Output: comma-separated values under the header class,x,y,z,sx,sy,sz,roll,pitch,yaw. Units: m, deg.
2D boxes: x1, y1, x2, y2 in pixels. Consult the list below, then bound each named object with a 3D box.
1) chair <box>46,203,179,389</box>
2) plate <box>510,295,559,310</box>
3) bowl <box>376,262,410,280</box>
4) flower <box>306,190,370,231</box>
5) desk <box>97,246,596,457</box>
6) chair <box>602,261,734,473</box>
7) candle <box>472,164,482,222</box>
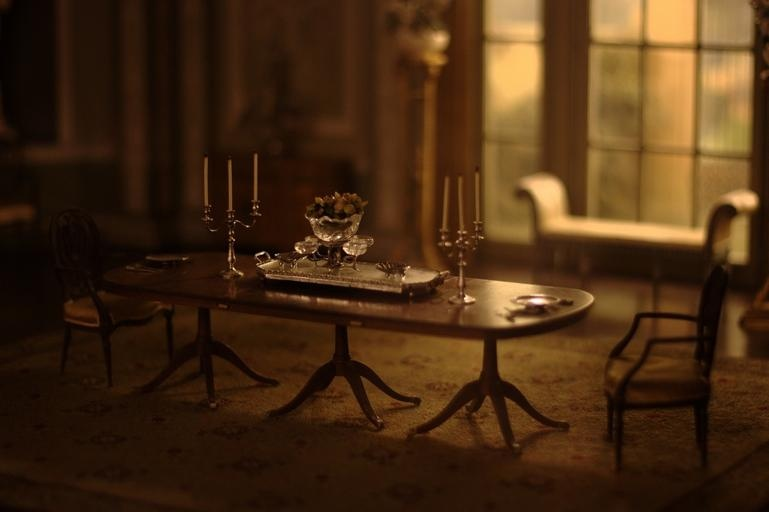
class,x,y,z,sx,sy,sz,roll,pitch,yaw
chair,-1.888,0.251,5.352,0.756,1.118,0.772,-5,11,-38
plate,0.858,0.252,4.214,0.248,0.044,0.224,-3,9,-30
bowl,0.048,0.081,4.467,0.197,0.077,0.229,2,8,0
flower,-0.242,-0.339,4.595,0.324,0.150,0.345,-1,4,32
desk,-0.182,0.581,4.564,2.725,0.931,0.887,4,9,17
chair,1.612,0.605,4.388,0.703,1.120,0.729,-3,7,-1
candle,0.549,-0.369,4.457,0.033,0.337,0.035,2,-10,-9
